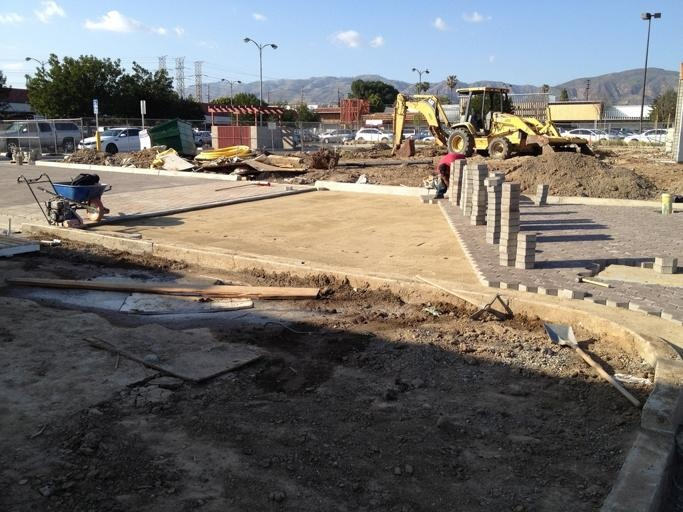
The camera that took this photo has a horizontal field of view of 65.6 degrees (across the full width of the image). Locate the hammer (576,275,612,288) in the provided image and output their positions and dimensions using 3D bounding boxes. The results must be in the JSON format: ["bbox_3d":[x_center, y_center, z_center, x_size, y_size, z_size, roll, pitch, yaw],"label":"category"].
[{"bbox_3d":[3.428,0.339,7.287,0.126,0.089,0.628,10,1,-28],"label":"hammer"}]

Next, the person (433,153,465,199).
[{"bbox_3d":[2.987,-2.233,14.769,0.685,1.189,1.448,1,13,11],"label":"person"}]

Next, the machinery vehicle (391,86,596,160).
[{"bbox_3d":[5.889,-6.007,23.910,9.315,2.786,3.076,12,21,42],"label":"machinery vehicle"}]

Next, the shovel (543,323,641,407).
[{"bbox_3d":[2.604,1.138,5.436,0.456,0.164,1.608,0,11,-7],"label":"shovel"}]

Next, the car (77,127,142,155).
[{"bbox_3d":[-13.179,-6.487,29.661,2.871,1.416,2.831,-1,12,-1],"label":"car"}]

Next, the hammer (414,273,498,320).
[{"bbox_3d":[1.587,0.552,7.144,0.726,0.148,0.431,21,33,32],"label":"hammer"}]
